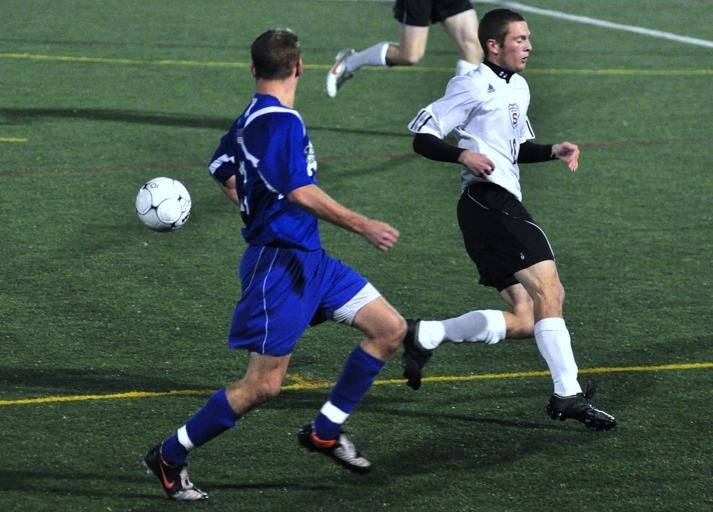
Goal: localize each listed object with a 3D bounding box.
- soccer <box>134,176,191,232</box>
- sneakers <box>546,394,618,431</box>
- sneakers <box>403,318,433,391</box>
[{"bbox_3d":[-1.338,-0.339,7.513,0.423,0.367,0.364,20,12,-17],"label":"soccer"},{"bbox_3d":[1.256,0.843,5.856,0.437,0.143,0.157,11,5,42],"label":"sneakers"},{"bbox_3d":[0.339,0.569,6.143,0.222,0.381,0.159,1,0,19],"label":"sneakers"}]
